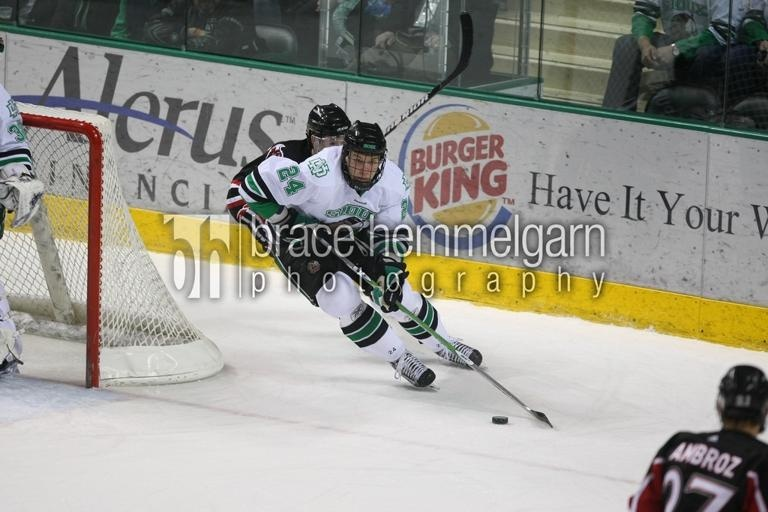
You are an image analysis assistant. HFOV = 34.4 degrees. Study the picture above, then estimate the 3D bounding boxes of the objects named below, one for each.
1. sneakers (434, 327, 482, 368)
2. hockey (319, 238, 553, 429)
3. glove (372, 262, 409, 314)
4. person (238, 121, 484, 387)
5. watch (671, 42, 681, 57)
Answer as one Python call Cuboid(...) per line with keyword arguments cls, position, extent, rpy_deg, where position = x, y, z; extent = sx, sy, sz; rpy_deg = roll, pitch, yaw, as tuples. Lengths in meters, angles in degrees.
Cuboid(cls="sneakers", position=(0.389, 0.558, 7.573), extent=(0.380, 0.122, 0.169), rpy_deg=(22, -3, 38))
Cuboid(cls="hockey", position=(0.329, 0.497, 7.568), extent=(1.642, 0.084, 0.168), rpy_deg=(36, -26, 15))
Cuboid(cls="glove", position=(0.060, 0.219, 7.281), extent=(0.206, 0.286, 0.428), rpy_deg=(3, 9, -3))
Cuboid(cls="person", position=(-0.013, -0.097, 7.147), extent=(0.794, 0.946, 1.832), rpy_deg=(-8, 36, -39))
Cuboid(cls="watch", position=(1.924, -1.360, 8.206), extent=(0.064, 0.088, 0.085), rpy_deg=(-25, 11, 15))
